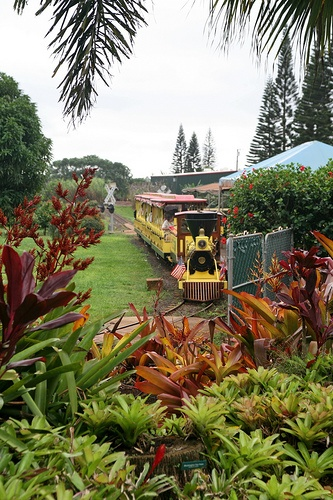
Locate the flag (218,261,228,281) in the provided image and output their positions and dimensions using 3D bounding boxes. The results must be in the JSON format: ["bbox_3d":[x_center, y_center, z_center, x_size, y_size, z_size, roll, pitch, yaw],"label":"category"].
[{"bbox_3d":[1.432,0.552,10.352,0.182,0.450,0.299,5,-2,34],"label":"flag"}]

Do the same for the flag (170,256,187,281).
[{"bbox_3d":[0.361,0.544,11.794,0.049,0.754,0.562,8,21,-40],"label":"flag"}]
